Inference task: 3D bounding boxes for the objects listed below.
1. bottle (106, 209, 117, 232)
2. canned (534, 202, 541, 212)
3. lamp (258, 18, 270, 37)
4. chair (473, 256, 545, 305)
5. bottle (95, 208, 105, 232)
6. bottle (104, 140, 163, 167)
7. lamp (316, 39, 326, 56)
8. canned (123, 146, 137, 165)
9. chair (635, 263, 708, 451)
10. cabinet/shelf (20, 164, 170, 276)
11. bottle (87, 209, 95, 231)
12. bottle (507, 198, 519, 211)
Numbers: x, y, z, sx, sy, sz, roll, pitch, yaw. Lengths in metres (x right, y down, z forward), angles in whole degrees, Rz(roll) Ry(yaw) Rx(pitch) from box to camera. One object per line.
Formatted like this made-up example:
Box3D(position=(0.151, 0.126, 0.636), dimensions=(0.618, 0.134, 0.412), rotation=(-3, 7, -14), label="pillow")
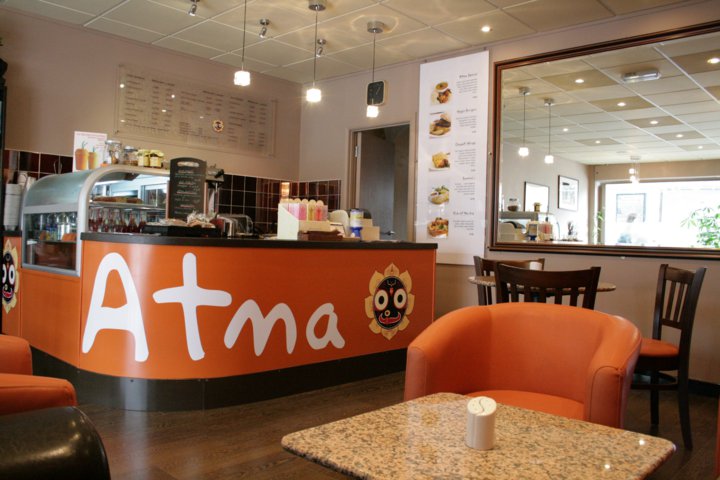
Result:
Box3D(position=(-2.251, -0.168, 4.741), dimensions=(0.042, 0.184, 0.099), rotation=(11, 13, 39), label="bottle")
Box3D(position=(1.972, -0.349, 5.807), dimensions=(0.093, 0.104, 0.091), rotation=(2, -3, -1), label="canned")
Box3D(position=(-1.059, -2.390, 5.915), dimensions=(0.103, 0.171, 0.115), rotation=(2, 2, -7), label="lamp")
Box3D(position=(1.348, 0.345, 4.745), dimensions=(0.652, 0.623, 0.582), rotation=(0, -6, 7), label="chair")
Box3D(position=(-2.310, -0.166, 4.635), dimensions=(0.041, 0.188, 0.118), rotation=(6, 10, 20), label="bottle")
Box3D(position=(-2.237, -0.814, 5.120), dimensions=(0.551, 0.179, 0.404), rotation=(9, 4, 20), label="bottle")
Box3D(position=(-0.471, -2.389, 6.407), dimensions=(0.077, 0.118, 0.076), rotation=(2, -5, -21), label="lamp")
Box3D(position=(-2.201, -0.814, 5.107), dimensions=(0.170, 0.185, 0.167), rotation=(2, 2, 10), label="canned")
Box3D(position=(2.248, 0.920, 4.154), dimensions=(0.701, 1.312, 0.679), rotation=(0, 2, 16), label="chair")
Box3D(position=(-2.443, -0.271, 4.889), dimensions=(1.386, 0.932, 1.018), rotation=(-1, -2, 45), label="cabinet/shelf")
Box3D(position=(-2.288, -0.159, 4.465), dimensions=(0.039, 0.200, 0.316), rotation=(-1, 10, -21), label="bottle")
Box3D(position=(1.762, -0.396, 6.010), dimensions=(0.128, 0.133, 0.127), rotation=(1, -7, -4), label="bottle")
